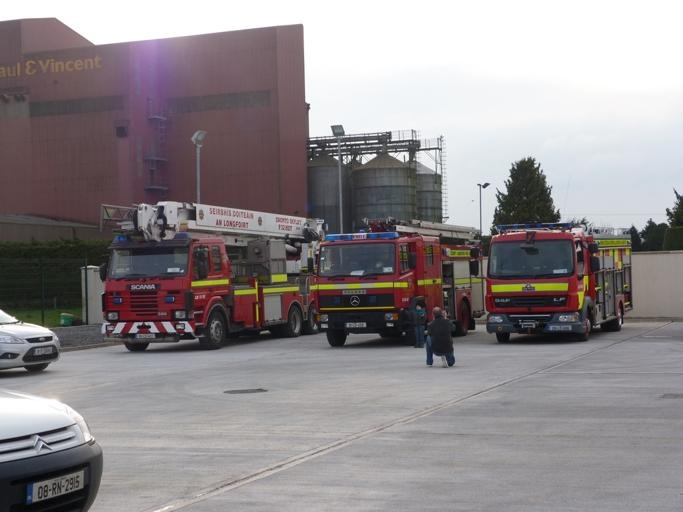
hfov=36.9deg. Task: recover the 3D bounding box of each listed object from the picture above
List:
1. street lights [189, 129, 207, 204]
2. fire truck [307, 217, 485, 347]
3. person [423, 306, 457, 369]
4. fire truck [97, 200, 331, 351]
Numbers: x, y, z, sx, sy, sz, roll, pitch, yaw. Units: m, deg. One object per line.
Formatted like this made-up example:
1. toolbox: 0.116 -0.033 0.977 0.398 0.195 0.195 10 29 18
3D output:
1. street lights: -6.798 -4.229 48.337 0.583 3.291 0.689 5 5 13
2. fire truck: 2.512 0.768 32.054 2.924 3.609 9.025 -3 -2 27
3. person: 2.213 1.791 22.815 0.650 1.304 0.938 -2 -2 5
4. fire truck: -3.314 0.516 32.357 2.811 4.283 9.970 -3 -3 26
